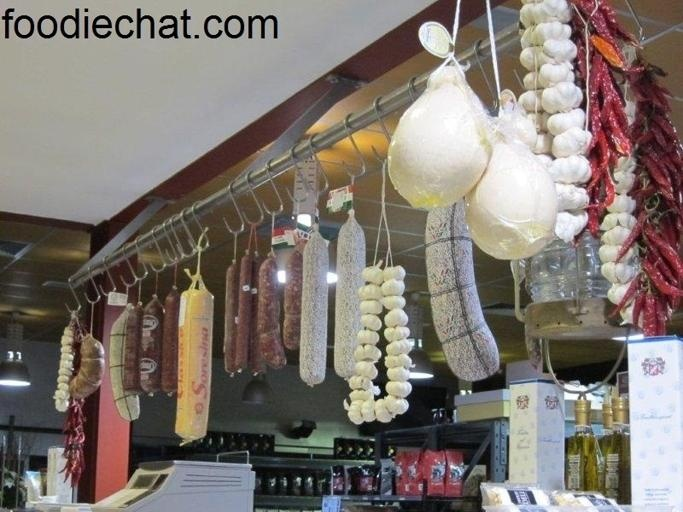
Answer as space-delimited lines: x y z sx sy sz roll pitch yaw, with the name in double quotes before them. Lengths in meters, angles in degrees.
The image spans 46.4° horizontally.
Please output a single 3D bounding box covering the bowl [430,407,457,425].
"bowl" 0.841 1.303 6.490 0.181 0.127 0.397 -5 -16 8
